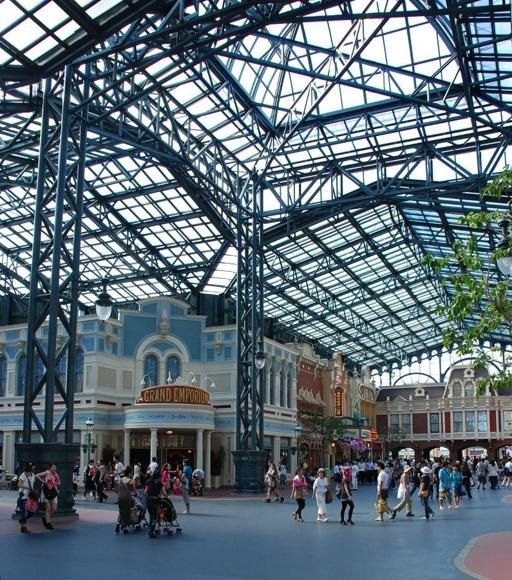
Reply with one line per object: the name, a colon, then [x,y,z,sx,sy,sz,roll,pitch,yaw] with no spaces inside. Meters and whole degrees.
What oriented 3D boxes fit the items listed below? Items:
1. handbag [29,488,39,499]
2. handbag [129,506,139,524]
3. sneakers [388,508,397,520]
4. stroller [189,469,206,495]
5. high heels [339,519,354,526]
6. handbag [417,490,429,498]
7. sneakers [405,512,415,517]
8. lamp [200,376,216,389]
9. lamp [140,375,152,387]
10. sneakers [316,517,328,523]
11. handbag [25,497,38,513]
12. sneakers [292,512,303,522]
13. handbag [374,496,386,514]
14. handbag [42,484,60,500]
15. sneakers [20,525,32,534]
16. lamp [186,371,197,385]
handbag: [-4.982,4.580,15.936,0.134,0.238,0.332,-4,-14,18]
handbag: [-2.752,5.045,15.943,0.117,0.369,0.439,-8,-24,12]
sneakers: [3.865,6.311,19.973,0.216,0.220,0.597,-1,-17,10]
stroller: [-2.446,8.188,30.567,0.964,0.939,1.567,1,2,-6]
high heels: [2.415,6.087,18.617,0.472,0.173,0.141,-4,-5,-2]
handbag: [4.780,5.747,20.030,0.205,0.235,0.263,5,-14,-19]
sneakers: [4.592,6.584,20.838,0.270,0.185,0.098,2,-2,-17]
lamp: [-2.711,5.261,40.547,0.562,0.930,1.150,10,-16,-37]
lamp: [-6.110,5.059,39.653,0.405,0.812,1.006,-7,-14,26]
sneakers: [1.786,6.214,19.131,0.332,0.133,0.108,-12,-20,27]
handbag: [-5.048,4.811,15.924,0.166,0.339,0.366,-2,-13,8]
sneakers: [1.173,6.292,19.634,0.165,0.182,0.495,3,-23,-10]
handbag: [3.472,5.960,19.617,0.259,0.410,0.465,-2,-13,10]
handbag: [-4.600,4.516,15.823,0.422,0.364,0.242,-4,-8,12]
sneakers: [-4.946,5.137,15.254,0.363,0.213,0.129,-1,-12,0]
lamp: [-3.634,5.005,40.415,0.558,0.825,1.026,1,-13,-5]
